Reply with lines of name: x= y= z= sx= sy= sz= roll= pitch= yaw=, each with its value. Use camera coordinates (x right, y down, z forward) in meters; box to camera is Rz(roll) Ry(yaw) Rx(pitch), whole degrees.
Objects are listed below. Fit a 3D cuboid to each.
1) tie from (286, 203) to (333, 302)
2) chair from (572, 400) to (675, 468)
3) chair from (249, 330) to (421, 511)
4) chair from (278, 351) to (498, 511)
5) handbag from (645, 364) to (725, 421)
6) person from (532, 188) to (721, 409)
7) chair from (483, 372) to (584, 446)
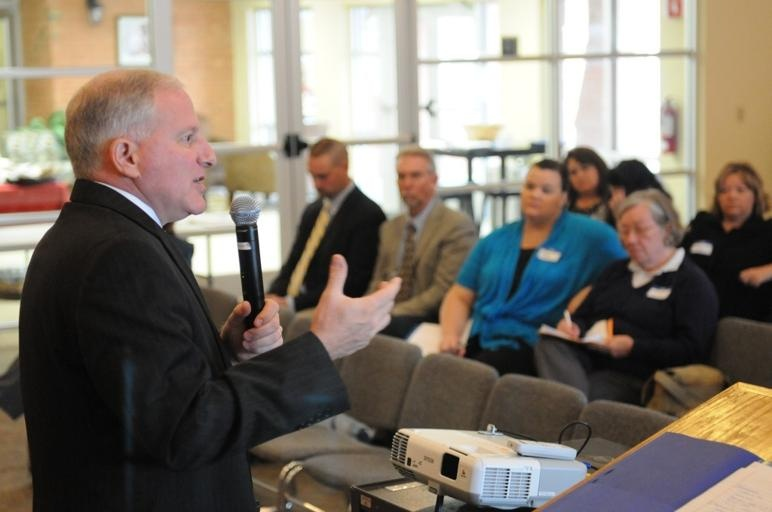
tie: x=-0.443 y=-0.009 z=4.343 sx=0.104 sy=0.653 sz=0.097 roll=26 pitch=-4 yaw=-6
chair: x=0.742 y=0.562 z=2.387 sx=0.202 sy=0.250 sz=0.211 roll=10 pitch=-16 yaw=33
chair: x=-0.254 y=0.733 z=3.507 sx=0.667 sy=0.956 sz=0.756 roll=3 pitch=1 yaw=45
chair: x=0.063 y=0.663 z=3.209 sx=0.674 sy=0.792 sz=0.591 roll=10 pitch=-4 yaw=-39
handbag: x=1.262 y=0.562 z=3.193 sx=0.313 sy=0.110 sz=0.254 roll=-1 pitch=3 yaw=-25
person: x=1.264 y=0.239 z=3.912 sx=0.911 sy=1.462 sz=0.821 roll=4 pitch=0 yaw=-7
chair: x=0.575 y=0.553 z=2.831 sx=0.225 sy=0.263 sz=0.321 roll=10 pitch=28 yaw=44
